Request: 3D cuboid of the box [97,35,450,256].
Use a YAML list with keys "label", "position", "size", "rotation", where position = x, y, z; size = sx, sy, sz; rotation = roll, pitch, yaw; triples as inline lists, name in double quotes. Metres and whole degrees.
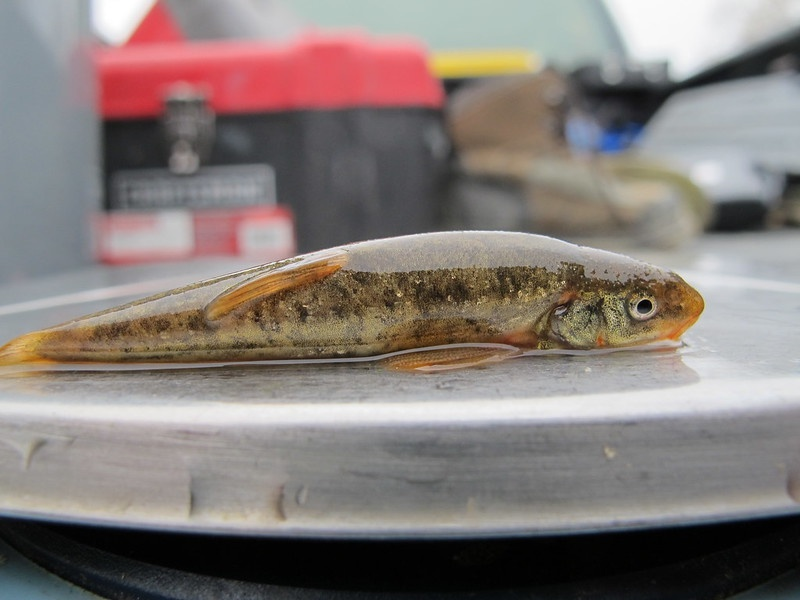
- label: "box"
  position: [-0.441, -0.489, 3.301]
  size: [0.997, 0.506, 0.758]
  rotation: [3, 6, 31]
